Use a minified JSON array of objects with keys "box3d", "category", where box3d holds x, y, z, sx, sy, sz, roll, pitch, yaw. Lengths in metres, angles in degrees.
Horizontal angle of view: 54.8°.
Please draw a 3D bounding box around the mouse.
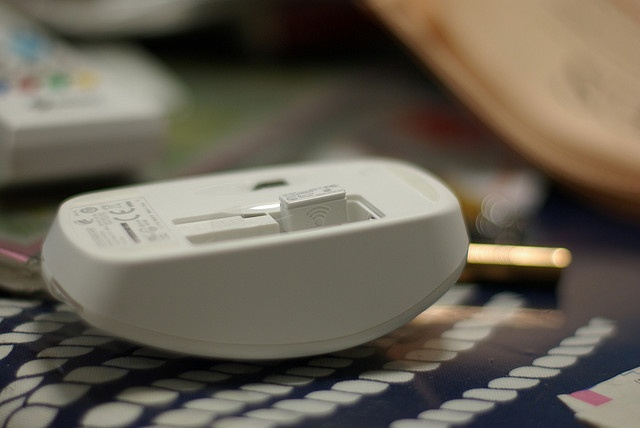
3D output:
[{"box3d":[-0.086,0.088,0.877,0.520,0.156,0.271,-5,34,-17],"category":"mouse"}]
